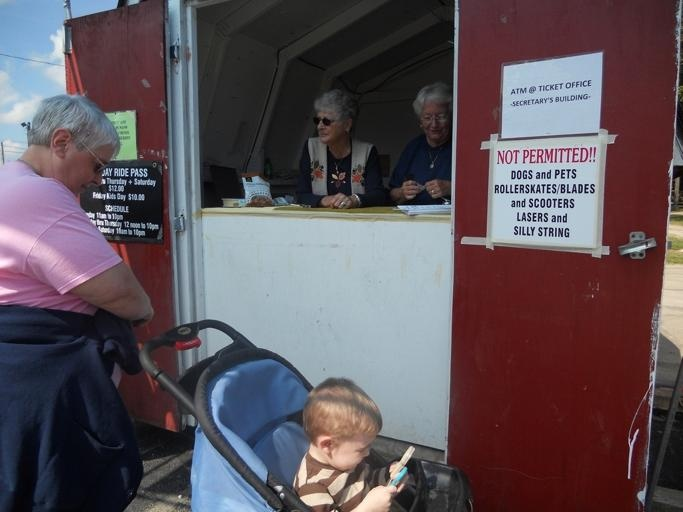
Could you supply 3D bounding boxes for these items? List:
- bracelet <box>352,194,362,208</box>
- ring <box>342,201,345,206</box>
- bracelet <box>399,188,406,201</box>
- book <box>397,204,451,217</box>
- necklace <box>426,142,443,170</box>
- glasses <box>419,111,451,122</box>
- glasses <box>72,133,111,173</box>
[{"bbox_3d":[0.101,-0.323,3.501,0.020,0.072,0.060,-18,17,7],"label":"bracelet"},{"bbox_3d":[0.016,-0.301,3.405,0.021,0.023,0.013,-42,-7,2],"label":"ring"},{"bbox_3d":[0.379,-0.372,3.581,0.045,0.057,0.044,-2,7,-5],"label":"bracelet"},{"bbox_3d":[0.436,-0.244,3.079,0.267,0.076,0.209,5,4,5],"label":"book"},{"bbox_3d":[0.562,-0.601,3.530,0.028,0.134,0.081,9,3,-41],"label":"necklace"},{"bbox_3d":[0.547,-0.810,3.413,0.171,0.060,0.063,5,4,19],"label":"glasses"},{"bbox_3d":[-1.047,-0.440,2.440,0.034,0.127,0.117,-29,-10,2],"label":"glasses"}]
